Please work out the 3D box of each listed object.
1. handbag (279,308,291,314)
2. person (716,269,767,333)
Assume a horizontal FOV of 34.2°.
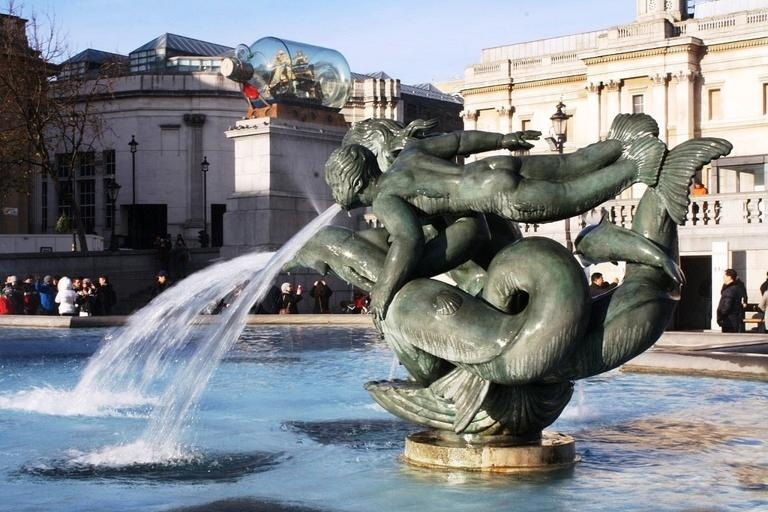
[{"bbox_3d":[-2.006,1.106,25.198,0.170,0.101,0.116,0,-7,0],"label":"handbag"},{"bbox_3d":[6.257,0.790,22.635,0.451,1.204,0.623,2,11,14],"label":"person"}]
